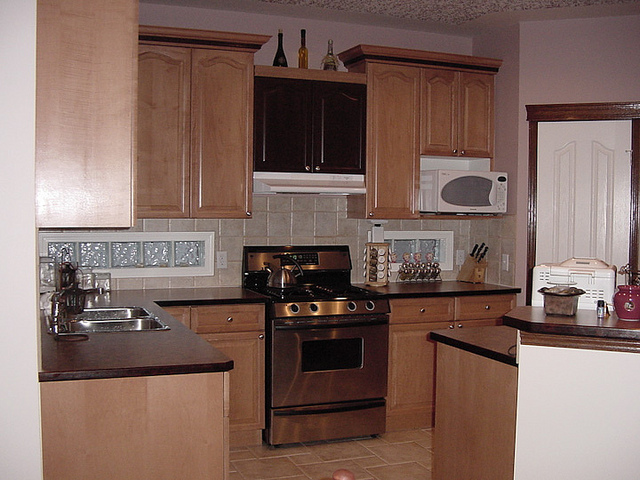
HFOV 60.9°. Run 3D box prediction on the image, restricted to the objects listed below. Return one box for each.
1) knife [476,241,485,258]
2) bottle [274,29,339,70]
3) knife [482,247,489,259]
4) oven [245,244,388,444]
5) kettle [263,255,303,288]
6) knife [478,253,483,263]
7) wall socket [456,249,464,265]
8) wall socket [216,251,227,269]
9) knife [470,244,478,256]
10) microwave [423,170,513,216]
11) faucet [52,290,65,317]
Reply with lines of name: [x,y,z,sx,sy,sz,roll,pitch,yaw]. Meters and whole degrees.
knife: [1.438,0.088,4.866,0.040,0.144,0.036,12,-21,50]
bottle: [-0.123,-1.525,4.367,0.507,0.322,0.232,-1,4,-5]
knife: [1.467,0.092,4.841,0.020,0.071,0.017,28,2,-15]
oven: [-0.049,0.747,4.175,0.971,1.355,0.816,-1,5,-28]
kettle: [-0.292,0.242,4.250,0.317,0.259,0.224,0,16,0]
knife: [1.421,0.154,4.844,0.022,0.081,0.021,35,0,17]
wall socket: [1.281,0.153,4.990,0.089,0.138,0.023,-3,5,-29]
wall socket: [-0.788,0.157,4.319,0.079,0.143,0.032,-2,5,-11]
knife: [1.382,0.081,4.904,0.033,0.140,0.032,26,-11,-1]
microwave: [1.202,-0.402,4.646,0.707,0.324,0.389,-2,5,-22]
faucet: [-1.241,0.299,2.556,0.049,0.111,0.175,-3,5,-25]
